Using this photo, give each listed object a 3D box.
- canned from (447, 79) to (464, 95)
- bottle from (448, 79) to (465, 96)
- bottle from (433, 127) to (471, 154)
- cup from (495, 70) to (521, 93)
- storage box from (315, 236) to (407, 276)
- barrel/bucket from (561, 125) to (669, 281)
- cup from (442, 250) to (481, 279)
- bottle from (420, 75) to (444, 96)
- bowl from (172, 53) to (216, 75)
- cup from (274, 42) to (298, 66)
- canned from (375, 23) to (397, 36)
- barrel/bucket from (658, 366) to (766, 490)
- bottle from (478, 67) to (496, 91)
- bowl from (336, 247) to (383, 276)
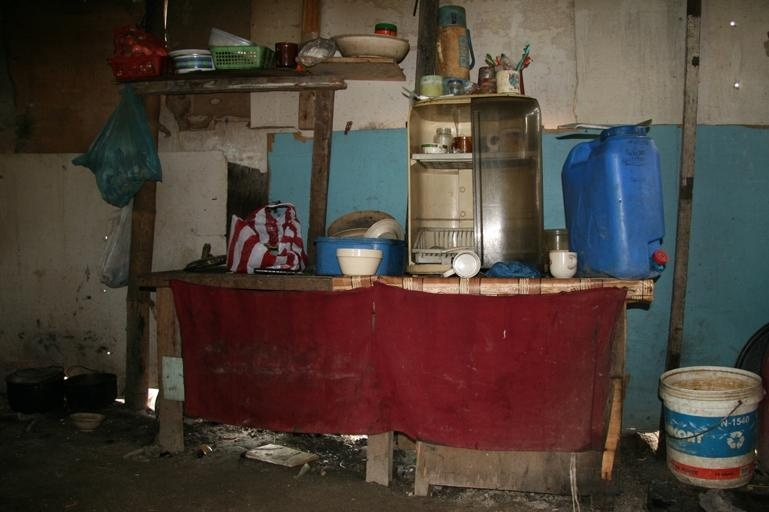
[{"bbox_3d":[0.678,-1.654,7.602,0.168,0.160,0.170,-2,6,-32],"label":"canned"},{"bbox_3d":[0.686,-1.647,7.608,0.160,0.143,0.153,-3,8,-20],"label":"bottle"},{"bbox_3d":[0.641,-1.129,7.573,0.373,0.302,0.206,4,7,27],"label":"bottle"},{"bbox_3d":[1.166,-1.650,7.402,0.232,0.201,0.221,1,1,0],"label":"cup"},{"bbox_3d":[-0.243,-0.033,7.152,0.585,0.225,0.428,-1,-6,9],"label":"storage box"},{"bbox_3d":[2.018,-0.483,6.865,0.916,1.327,0.432,3,8,24],"label":"barrel/bucket"},{"bbox_3d":[0.670,0.067,6.885,0.310,0.237,0.196,2,7,11],"label":"cup"},{"bbox_3d":[0.443,-1.635,7.500,0.210,0.146,0.207,2,2,0],"label":"bottle"},{"bbox_3d":[-1.973,-1.984,8.032,0.262,0.092,0.272,-2,7,0],"label":"bowl"},{"bbox_3d":[-0.985,-2.033,7.943,0.232,0.226,0.251,2,-2,0],"label":"cup"},{"bbox_3d":[0.016,-2.251,7.738,0.172,0.100,0.165,-6,9,-43],"label":"canned"},{"bbox_3d":[3.066,1.594,7.463,1.067,0.976,1.019,-1,5,0],"label":"barrel/bucket"},{"bbox_3d":[0.970,-1.712,7.551,0.179,0.257,0.173,0,7,0],"label":"bottle"},{"bbox_3d":[-0.233,0.053,7.003,0.299,0.145,0.286,0,-3,0],"label":"bowl"}]
